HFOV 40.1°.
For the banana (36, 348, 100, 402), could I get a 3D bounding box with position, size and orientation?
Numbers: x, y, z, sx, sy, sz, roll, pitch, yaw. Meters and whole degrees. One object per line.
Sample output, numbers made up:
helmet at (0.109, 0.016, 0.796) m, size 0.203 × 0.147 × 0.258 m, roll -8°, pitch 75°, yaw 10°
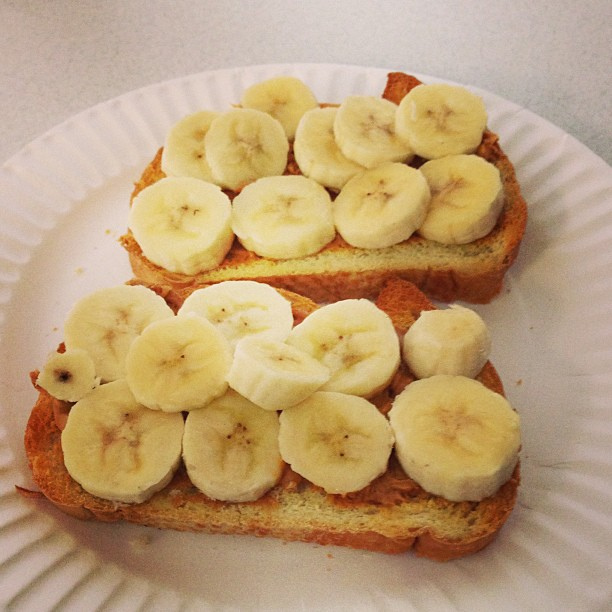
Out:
banana at (-0.864, 0.252, 3.056) m, size 0.247 × 0.050 × 0.169 m, roll 9°, pitch 78°, yaw -8°
